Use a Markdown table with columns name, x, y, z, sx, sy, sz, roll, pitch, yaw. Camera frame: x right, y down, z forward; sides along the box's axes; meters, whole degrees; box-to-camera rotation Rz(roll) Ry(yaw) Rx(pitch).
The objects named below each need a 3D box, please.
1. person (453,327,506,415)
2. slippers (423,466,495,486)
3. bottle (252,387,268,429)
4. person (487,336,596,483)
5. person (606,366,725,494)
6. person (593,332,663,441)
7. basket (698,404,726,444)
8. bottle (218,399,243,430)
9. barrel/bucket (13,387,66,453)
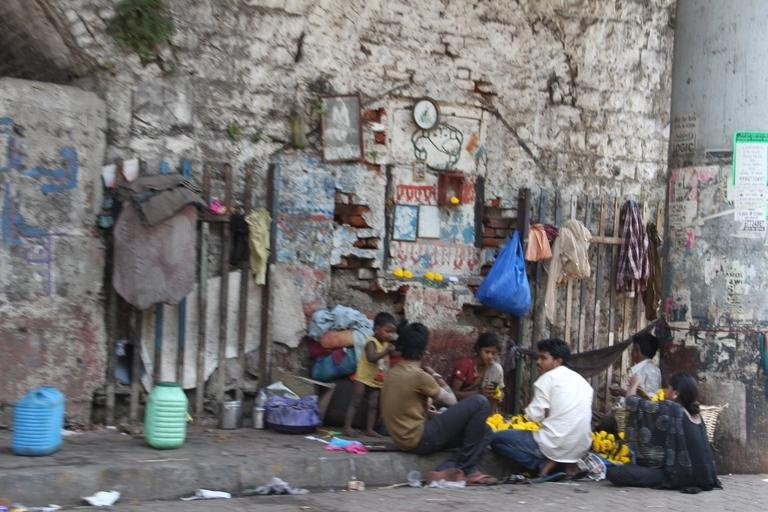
| name | x | y | z | sx | sy | sz | roll | pitch | yaw |
| --- | --- | --- | --- | --- | --- | --- | --- | --- | --- |
| person | 1.132 | 1.447 | 15.934 | 0.712 | 0.915 | 0.664 | 11 | 8 | 3 |
| slippers | 0.821 | 2.429 | 14.643 | 0.779 | 0.252 | 0.259 | -1 | -8 | -10 |
| bottle | -1.460 | 1.820 | 15.384 | 0.142 | 0.411 | 0.099 | 3 | -5 | -12 |
| person | 1.795 | 1.832 | 15.217 | 1.118 | 1.679 | 1.211 | -7 | -23 | 43 |
| person | 3.287 | 2.042 | 15.098 | 1.257 | 1.265 | 1.347 | 5 | -1 | 16 |
| person | 2.935 | 1.602 | 15.884 | 0.883 | 1.348 | 0.702 | 4 | -30 | 23 |
| basket | 3.868 | 1.985 | 15.451 | 0.466 | 0.436 | 0.461 | 1 | -3 | -3 |
| bottle | -1.771 | 1.863 | 15.363 | 0.334 | 0.286 | 0.288 | 2 | -7 | -7 |
| barrel/bucket | -3.675 | 1.790 | 13.972 | 0.508 | 0.736 | 0.731 | 1 | -10 | 3 |
